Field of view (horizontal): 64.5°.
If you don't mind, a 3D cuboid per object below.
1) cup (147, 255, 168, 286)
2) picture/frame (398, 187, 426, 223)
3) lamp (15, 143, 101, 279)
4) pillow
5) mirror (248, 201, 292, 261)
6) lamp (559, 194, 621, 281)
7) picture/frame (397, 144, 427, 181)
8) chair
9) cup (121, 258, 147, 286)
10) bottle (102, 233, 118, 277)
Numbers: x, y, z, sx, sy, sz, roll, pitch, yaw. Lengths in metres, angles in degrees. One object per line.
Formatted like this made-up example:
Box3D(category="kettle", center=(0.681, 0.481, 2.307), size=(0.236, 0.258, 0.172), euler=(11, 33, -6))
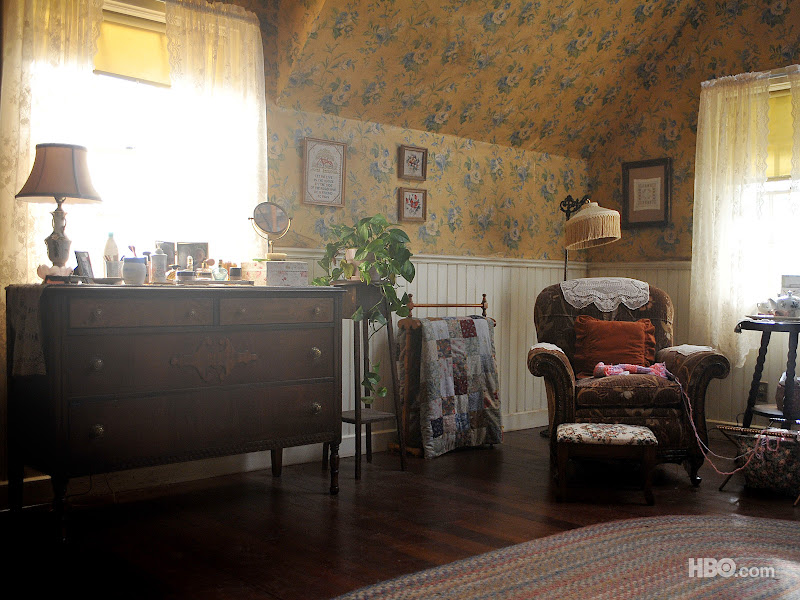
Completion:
Box3D(category="cup", center=(-1.285, -0.165, 3.333), size=(0.082, 0.148, 0.046), euler=(0, 4, -8))
Box3D(category="picture/frame", center=(0.074, -0.697, 4.626), size=(0.266, 0.250, 0.036), euler=(-1, 0, -42))
Box3D(category="lamp", center=(-1.685, -0.468, 3.150), size=(0.366, 0.617, 0.284), euler=(-2, 5, -26))
Box3D(category="pillow", center=(1.445, 0.320, 4.259), size=(0.369, 0.318, 0.131), euler=(1, -15, 10))
Box3D(category="mirror", center=(-0.759, -0.407, 3.741), size=(0.266, 0.364, 0.103), euler=(-2, -11, -27))
Box3D(category="lamp", center=(1.479, -0.573, 5.031), size=(0.396, 0.543, 0.809), euler=(1, 4, 11))
Box3D(category="picture/frame", center=(0.085, -1.006, 4.657), size=(0.046, 0.257, 0.282), euler=(8, 11, 42))
Box3D(category="chair", center=(1.525, 0.528, 4.401), size=(1.263, 1.417, 1.254), euler=(-1, -9, 8))
Box3D(category="cup", center=(-1.364, -0.147, 3.266), size=(0.133, 0.171, 0.133), euler=(0, 3, 0))
Box3D(category="bottle", center=(-1.496, -0.240, 3.287), size=(0.069, 0.229, 0.195), euler=(-2, 5, -25))
